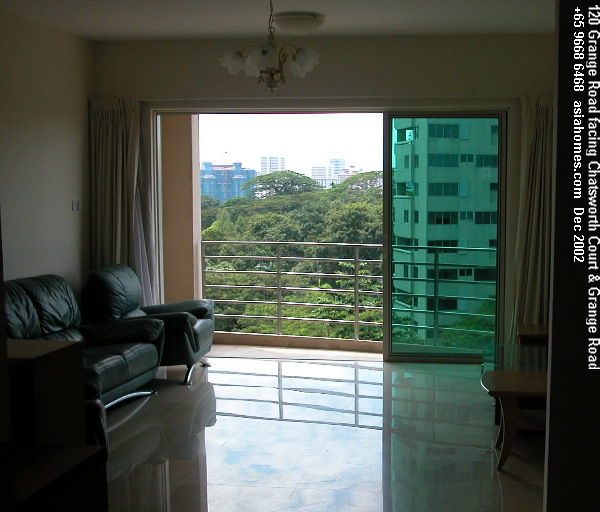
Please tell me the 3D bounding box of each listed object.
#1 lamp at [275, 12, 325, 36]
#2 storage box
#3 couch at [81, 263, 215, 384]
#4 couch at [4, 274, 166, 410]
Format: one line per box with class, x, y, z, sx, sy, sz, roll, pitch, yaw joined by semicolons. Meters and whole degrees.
lamp;-0.017;-1.476;3.260;0.238;0.132;0.262;-3;6;-35
storage box;-0.837;0.486;1.752;0.081;0.372;0.273;2;5;20
couch;-1.221;0.475;4.648;0.989;0.981;1.015;0;3;3
couch;-1.494;0.543;3.703;0.988;1.013;0.972;1;4;13
